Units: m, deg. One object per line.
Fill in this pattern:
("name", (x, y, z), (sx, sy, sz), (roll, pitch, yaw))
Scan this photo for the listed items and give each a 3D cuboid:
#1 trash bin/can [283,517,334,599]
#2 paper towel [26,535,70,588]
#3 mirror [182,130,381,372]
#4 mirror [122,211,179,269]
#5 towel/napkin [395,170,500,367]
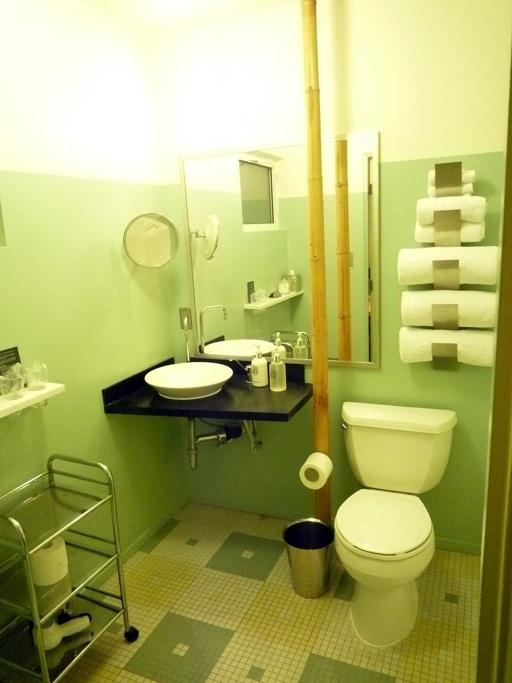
("trash bin/can", (0.211, 0.872, 2.249), (0.203, 0.238, 0.234), (-2, 12, 6))
("paper towel", (-0.633, 0.683, 1.736), (0.065, 0.122, 0.146), (5, 14, 32))
("mirror", (0.133, -0.412, 2.347), (0.912, 1.085, 0.043), (4, 12, 23))
("mirror", (-0.470, -0.441, 2.434), (0.101, 0.237, 0.313), (3, 14, 27))
("towel/napkin", (0.697, -0.262, 2.044), (0.351, 0.769, 0.214), (1, 12, 20))
